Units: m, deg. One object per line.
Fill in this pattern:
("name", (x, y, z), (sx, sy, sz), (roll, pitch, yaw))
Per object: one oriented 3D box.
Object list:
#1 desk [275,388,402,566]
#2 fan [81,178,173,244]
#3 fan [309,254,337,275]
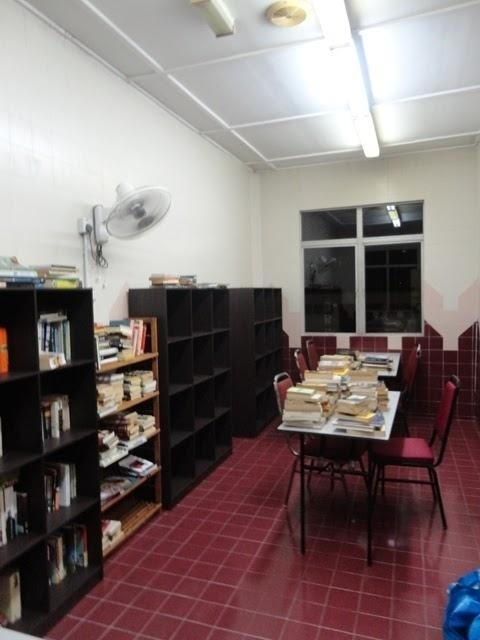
("desk", (0.694, 1.027, 3.145), (0.531, 0.918, 1.495), (0, 2, 15))
("fan", (-0.700, -0.649, 2.708), (0.410, 0.274, 0.351), (-29, -22, -5))
("fan", (1.146, -0.780, 6.092), (0.251, 0.178, 0.185), (-29, 0, 41))
